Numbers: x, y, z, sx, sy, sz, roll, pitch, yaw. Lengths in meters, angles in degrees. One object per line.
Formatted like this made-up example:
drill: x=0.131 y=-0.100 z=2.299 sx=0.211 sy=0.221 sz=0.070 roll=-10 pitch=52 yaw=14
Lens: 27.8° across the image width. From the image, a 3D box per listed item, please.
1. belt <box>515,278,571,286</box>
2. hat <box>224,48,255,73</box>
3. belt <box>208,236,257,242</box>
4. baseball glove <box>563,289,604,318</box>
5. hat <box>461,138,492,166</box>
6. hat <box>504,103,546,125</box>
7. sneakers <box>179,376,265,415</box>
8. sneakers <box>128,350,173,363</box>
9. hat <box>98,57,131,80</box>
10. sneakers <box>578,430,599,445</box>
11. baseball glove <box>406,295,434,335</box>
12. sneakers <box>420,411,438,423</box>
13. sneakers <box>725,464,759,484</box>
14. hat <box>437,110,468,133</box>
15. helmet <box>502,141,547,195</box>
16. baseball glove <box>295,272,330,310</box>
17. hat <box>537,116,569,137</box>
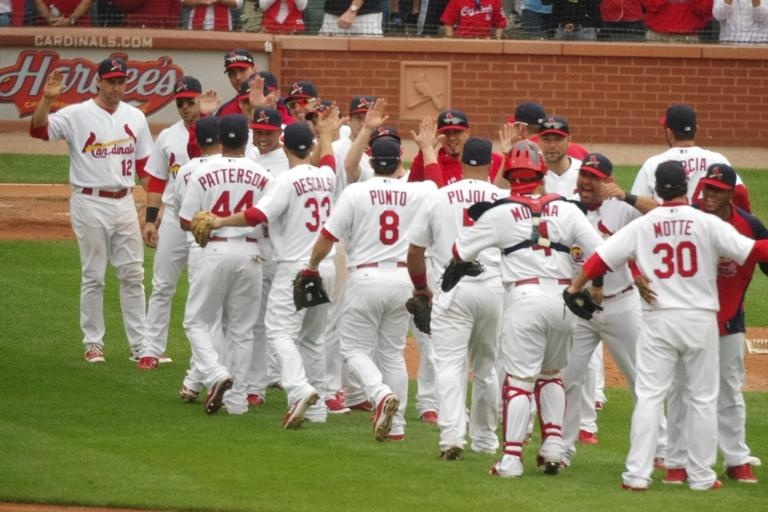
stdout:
belt: x=1.772 y=0.289 z=17.558 sx=0.624 sy=0.074 sz=0.086 roll=3 pitch=0 yaw=0
hat: x=-1.977 y=-2.608 z=20.734 sx=0.378 sy=0.295 sz=0.367 roll=3 pitch=0 yaw=-5
belt: x=-1.871 y=-0.207 z=18.751 sx=0.559 sy=0.070 sz=0.095 roll=3 pitch=0 yaw=-18
baseball glove: x=2.192 y=0.526 z=17.398 sx=0.448 sy=0.236 sz=0.200 roll=19 pitch=6 yaw=12
hat: x=1.052 y=-1.247 z=18.152 sx=0.274 sy=0.187 sz=0.359 roll=2 pitch=32 yaw=4
hat: x=1.680 y=-1.782 z=19.399 sx=0.536 sy=0.250 sz=0.395 roll=10 pitch=16 yaw=35
sneakers: x=-2.031 y=1.686 z=18.886 sx=0.219 sy=0.501 sz=0.175 roll=46 pitch=-10 yaw=45
sneakers: x=-3.113 y=1.323 z=20.398 sx=0.575 sy=0.220 sz=0.198 roll=-1 pitch=26 yaw=-1
hat: x=-3.620 y=-2.423 z=20.225 sx=0.409 sy=0.269 sz=0.554 roll=-2 pitch=9 yaw=-25
sneakers: x=2.449 y=2.167 z=18.777 sx=0.271 sy=0.156 sz=0.152 roll=2 pitch=7 yaw=26
baseball glove: x=0.403 y=0.690 z=18.377 sx=0.323 sy=0.405 sz=0.169 roll=-11 pitch=8 yaw=7
sneakers: x=0.514 y=1.965 z=19.158 sx=0.200 sy=0.132 sz=0.184 roll=3 pitch=0 yaw=-1
sneakers: x=4.061 y=2.454 z=17.697 sx=0.154 sy=0.137 sz=0.346 roll=7 pitch=-8 yaw=-35
hat: x=0.796 y=-1.606 z=18.585 sx=0.350 sy=0.247 sz=0.267 roll=3 pitch=-1 yaw=2
helmet: x=1.577 y=-1.006 z=17.664 sx=0.489 sy=0.504 sz=0.607 roll=-3 pitch=-23 yaw=11
baseball glove: x=-0.942 y=0.387 z=18.463 sx=0.399 sy=0.406 sz=0.180 roll=-1 pitch=18 yaw=4
hat: x=2.038 y=-1.561 z=18.815 sx=0.357 sy=0.216 sz=0.284 roll=3 pitch=0 yaw=5
